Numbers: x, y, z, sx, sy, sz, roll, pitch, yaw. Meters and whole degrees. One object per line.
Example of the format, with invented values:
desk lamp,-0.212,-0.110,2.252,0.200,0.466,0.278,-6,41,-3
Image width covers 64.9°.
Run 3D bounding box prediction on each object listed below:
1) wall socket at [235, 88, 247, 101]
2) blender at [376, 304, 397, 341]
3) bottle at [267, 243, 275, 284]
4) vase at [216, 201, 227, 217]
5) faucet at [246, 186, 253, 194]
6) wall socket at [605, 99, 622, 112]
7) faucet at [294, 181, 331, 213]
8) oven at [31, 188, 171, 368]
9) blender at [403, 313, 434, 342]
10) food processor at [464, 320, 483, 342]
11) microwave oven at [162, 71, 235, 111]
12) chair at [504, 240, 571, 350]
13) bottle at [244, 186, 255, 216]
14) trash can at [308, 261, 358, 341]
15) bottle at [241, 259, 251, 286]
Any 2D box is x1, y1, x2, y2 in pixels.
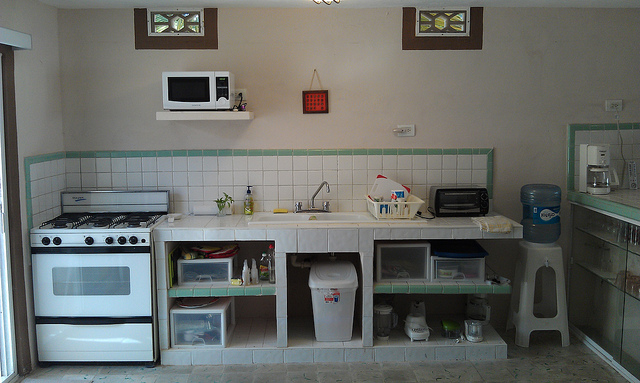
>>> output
wall socket,-0.887,-1.073,5.602,0.126,0.125,0.071,-2,10,-9
blender,0.741,1.395,5.468,0.174,0.346,0.338,6,12,35
bottle,-0.508,0.770,5.316,0.051,0.392,0.093,-2,10,-4
vase,-1.105,0.192,5.645,0.124,0.164,0.078,-3,10,-11
faucet,-0.808,-0.023,5.727,0.091,0.082,0.086,0,-2,-3
wall socket,3.338,-0.974,5.697,0.188,0.133,0.045,-2,10,-8
faucet,-0.076,0.072,5.698,0.366,0.253,0.361,1,-1,-10
oven,-2.282,0.940,5.544,1.357,1.661,0.966,-2,4,8
blender,1.107,1.475,5.528,0.314,0.221,0.440,-3,2,15
food processor,1.657,1.503,5.420,0.177,0.185,0.200,2,-3,-25
microwave oven,-1.264,-1.117,5.584,0.831,0.414,0.589,1,14,5
chair,2.415,1.110,5.560,0.615,1.133,0.526,-2,10,-4
bottle,-0.805,0.101,5.705,0.117,0.306,0.129,-1,10,0
trash can,0.150,1.188,5.379,0.496,0.760,0.344,0,10,4
bottle,-0.782,0.857,5.338,0.085,0.237,0.198,-2,10,-6
